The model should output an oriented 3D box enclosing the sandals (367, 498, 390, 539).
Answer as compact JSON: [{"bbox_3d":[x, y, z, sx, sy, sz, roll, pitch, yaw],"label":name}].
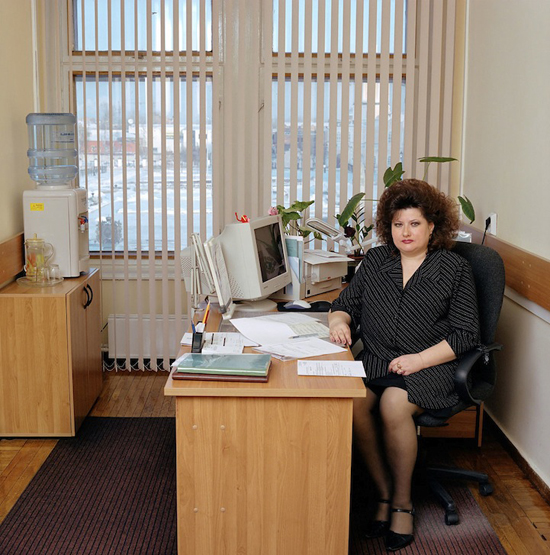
[{"bbox_3d":[0.382,0.898,1.809,0.052,0.072,0.166,-2,-6,15],"label":"sandals"}]

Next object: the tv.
[{"bbox_3d":[-0.097,-0.050,2.302,0.181,0.368,0.356,-10,8,25],"label":"tv"}]

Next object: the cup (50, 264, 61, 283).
[{"bbox_3d":[-1.228,-0.018,2.724,0.059,0.085,0.080,-1,-5,-7],"label":"cup"}]

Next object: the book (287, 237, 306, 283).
[{"bbox_3d":[0.105,-0.082,2.500,0.063,0.198,0.189,-3,9,-9],"label":"book"}]

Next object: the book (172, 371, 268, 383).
[{"bbox_3d":[-0.157,0.283,1.365,0.270,0.014,0.027,1,7,6],"label":"book"}]

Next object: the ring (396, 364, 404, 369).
[{"bbox_3d":[0.471,0.338,1.848,0.022,0.019,0.006,7,9,43],"label":"ring"}]

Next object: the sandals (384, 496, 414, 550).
[{"bbox_3d":[0.451,0.893,1.787,0.059,0.082,0.194,1,10,9],"label":"sandals"}]

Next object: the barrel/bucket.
[{"bbox_3d":[-1.379,-0.803,3.027,0.288,0.491,0.483,-3,7,-24],"label":"barrel/bucket"}]
